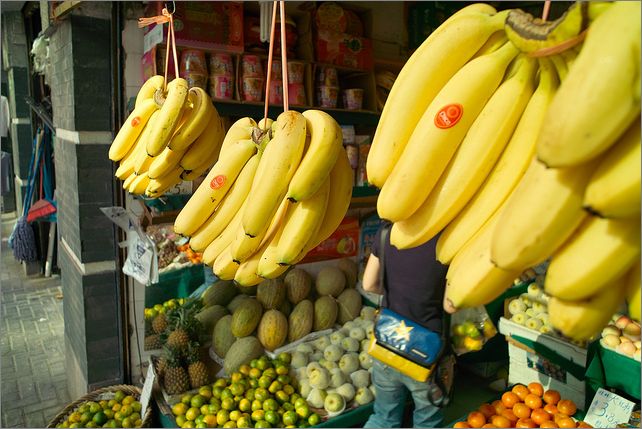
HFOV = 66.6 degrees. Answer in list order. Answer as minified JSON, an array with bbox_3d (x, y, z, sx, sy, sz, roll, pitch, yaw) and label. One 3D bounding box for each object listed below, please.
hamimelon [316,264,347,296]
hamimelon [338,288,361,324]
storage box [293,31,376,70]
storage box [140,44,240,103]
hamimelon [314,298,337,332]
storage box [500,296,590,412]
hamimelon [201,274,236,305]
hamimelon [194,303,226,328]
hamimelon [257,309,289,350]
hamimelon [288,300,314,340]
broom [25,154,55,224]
[{"bbox_3d":[0.111,0.603,4.404,0.232,0.233,0.293,0,69,8],"label":"hamimelon"},{"bbox_3d":[0.266,0.821,4.339,0.180,0.269,0.164,5,44,-24],"label":"hamimelon"},{"bbox_3d":[0.140,-1.426,4.227,0.560,0.261,0.277,-2,12,-29],"label":"storage box"},{"bbox_3d":[-0.875,-1.002,3.523,0.601,0.363,0.349,-8,17,-36],"label":"storage box"},{"bbox_3d":[0.043,0.839,4.189,0.183,0.256,0.194,17,30,-7],"label":"hamimelon"},{"bbox_3d":[1.615,1.043,3.531,0.427,0.658,0.445,-3,30,-6],"label":"storage box"},{"bbox_3d":[-0.860,0.689,4.221,0.177,0.174,0.303,47,68,2],"label":"hamimelon"},{"bbox_3d":[-0.912,0.846,4.039,0.228,0.131,0.114,-13,35,-19],"label":"hamimelon"},{"bbox_3d":[-0.363,0.917,3.933,0.205,0.294,0.219,-1,21,7],"label":"hamimelon"},{"bbox_3d":[-0.164,0.885,4.038,0.153,0.165,0.307,23,55,4],"label":"hamimelon"},{"bbox_3d":[-3.737,-0.281,6.407,0.329,0.505,0.867,-10,26,-31],"label":"broom"}]
